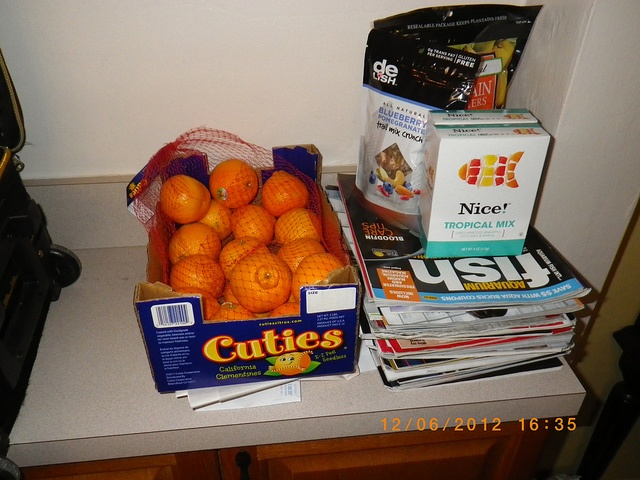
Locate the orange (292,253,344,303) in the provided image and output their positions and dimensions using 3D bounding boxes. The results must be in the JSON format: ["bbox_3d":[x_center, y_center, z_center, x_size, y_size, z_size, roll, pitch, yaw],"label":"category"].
[{"bbox_3d":[-0.008,0.054,0.921,0.084,0.087,0.102,1,32,-8],"label":"orange"}]

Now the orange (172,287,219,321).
[{"bbox_3d":[-0.214,0.112,0.873,0.063,0.075,0.064,-8,17,2],"label":"orange"}]

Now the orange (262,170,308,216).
[{"bbox_3d":[-0.074,-0.100,1.067,0.080,0.075,0.097,-6,63,-31],"label":"orange"}]

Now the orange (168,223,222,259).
[{"bbox_3d":[-0.246,0.001,0.956,0.076,0.080,0.078,-5,45,-12],"label":"orange"}]

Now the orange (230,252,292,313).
[{"bbox_3d":[-0.112,0.081,0.898,0.102,0.102,0.103,-2,73,-10],"label":"orange"}]

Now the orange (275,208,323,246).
[{"bbox_3d":[-0.045,-0.031,0.982,0.069,0.046,0.083,33,76,7],"label":"orange"}]

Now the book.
[{"bbox_3d":[0.256,0.059,1.033,0.409,0.195,0.441,-6,37,-8],"label":"book"}]

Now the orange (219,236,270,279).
[{"bbox_3d":[-0.153,0.029,1.003,0.081,0.079,0.082,0,49,9],"label":"orange"}]

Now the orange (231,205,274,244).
[{"bbox_3d":[-0.142,-0.026,1.062,0.079,0.082,0.095,2,51,-32],"label":"orange"}]

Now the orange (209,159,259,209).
[{"bbox_3d":[-0.183,-0.118,1.023,0.071,0.070,0.067,31,71,32],"label":"orange"}]

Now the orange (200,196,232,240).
[{"bbox_3d":[-0.211,-0.046,1.022,0.072,0.072,0.088,-3,79,0],"label":"orange"}]
